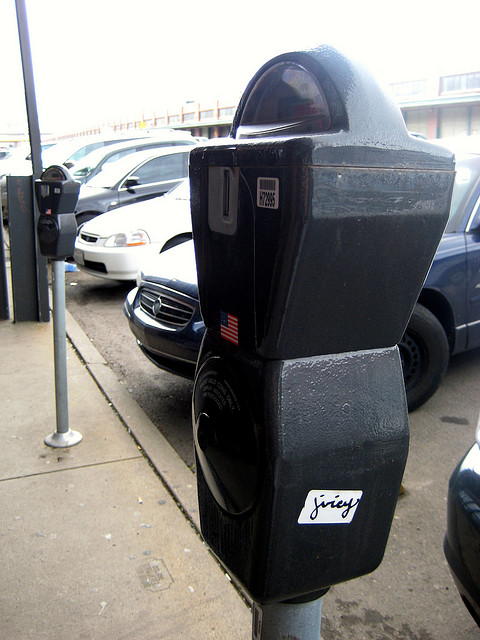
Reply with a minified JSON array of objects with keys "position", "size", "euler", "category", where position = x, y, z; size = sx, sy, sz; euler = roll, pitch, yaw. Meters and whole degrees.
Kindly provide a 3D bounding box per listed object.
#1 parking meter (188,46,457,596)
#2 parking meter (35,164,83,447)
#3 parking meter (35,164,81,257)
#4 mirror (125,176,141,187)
[{"position":[0.072,0.017,0.855],"size":[0.414,0.842,0.292],"euler":[11,17,40],"category":"parking meter"},{"position":[-0.918,-0.072,2.731],"size":[0.243,1.411,0.372],"euler":[-3,13,-17],"category":"parking meter"},{"position":[-0.937,-0.548,2.651],"size":[0.220,0.433,0.164],"euler":[6,14,23],"category":"parking meter"},{"position":[-1.575,-2.055,7.887],"size":[0.154,0.156,0.143],"euler":[4,40,2],"category":"mirror"}]
